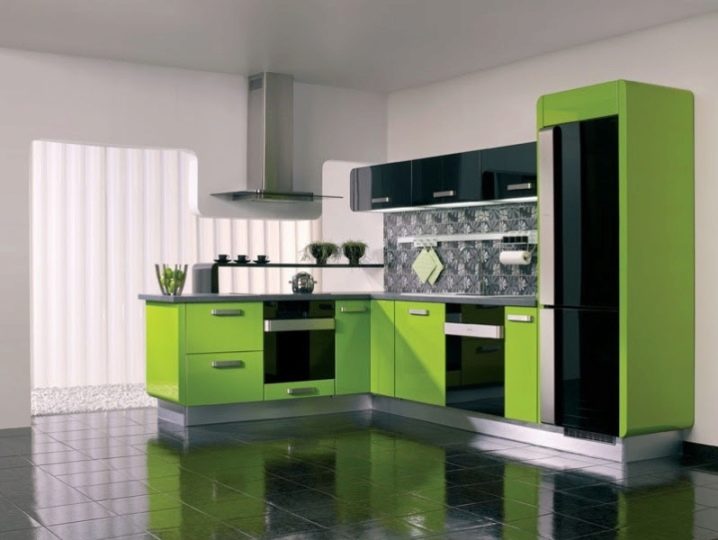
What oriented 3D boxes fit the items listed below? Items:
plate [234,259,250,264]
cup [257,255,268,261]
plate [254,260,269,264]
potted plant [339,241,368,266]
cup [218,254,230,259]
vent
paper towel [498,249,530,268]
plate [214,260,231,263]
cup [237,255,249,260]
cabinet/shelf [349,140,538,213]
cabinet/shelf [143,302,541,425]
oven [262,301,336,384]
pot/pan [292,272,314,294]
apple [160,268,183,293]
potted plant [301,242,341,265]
[{"bbox_3d":[-1.100,-0.076,6.221,0.130,0.045,0.162,0,-1,-8],"label":"plate"},{"bbox_3d":[-0.931,-0.114,6.302,0.057,0.038,0.078,-1,-6,-6],"label":"cup"},{"bbox_3d":[-0.936,-0.076,6.306,0.133,0.046,0.161,0,-1,-9],"label":"plate"},{"bbox_3d":[-0.058,-0.170,6.878,0.264,0.253,0.200,0,-1,-10],"label":"potted plant"},{"bbox_3d":[-1.278,-0.112,6.208,0.098,0.067,0.185,0,-1,-15],"label":"cup"},{"bbox_3d":[-0.761,-1.300,6.629,1.236,1.362,1.181,2,-2,-38],"label":"vent"},{"bbox_3d":[1.297,-0.104,5.375,0.261,0.113,0.161,0,-1,7],"label":"paper towel"},{"bbox_3d":[-1.267,-0.074,6.122,0.139,0.042,0.115,0,-1,-8],"label":"plate"},{"bbox_3d":[-1.115,-0.112,6.264,0.076,0.068,0.097,-2,-8,4],"label":"cup"},{"bbox_3d":[0.711,-0.794,5.767,0.260,0.495,2.228,1,-2,-39],"label":"cabinet/shelf"},{"bbox_3d":[-0.141,0.653,5.466,3.139,0.895,1.074,0,-1,14],"label":"cabinet/shelf"},{"bbox_3d":[-0.431,0.678,5.902,0.677,0.862,0.610,-3,-7,6],"label":"oven"},{"bbox_3d":[-0.504,0.122,6.015,0.193,0.215,0.183,3,-6,-25],"label":"pot/pan"},{"bbox_3d":[-1.627,0.096,5.678,0.205,0.213,0.205,0,-2,3],"label":"apple"},{"bbox_3d":[-0.410,-0.161,6.804,0.395,0.240,0.311,-1,-2,30],"label":"potted plant"}]
